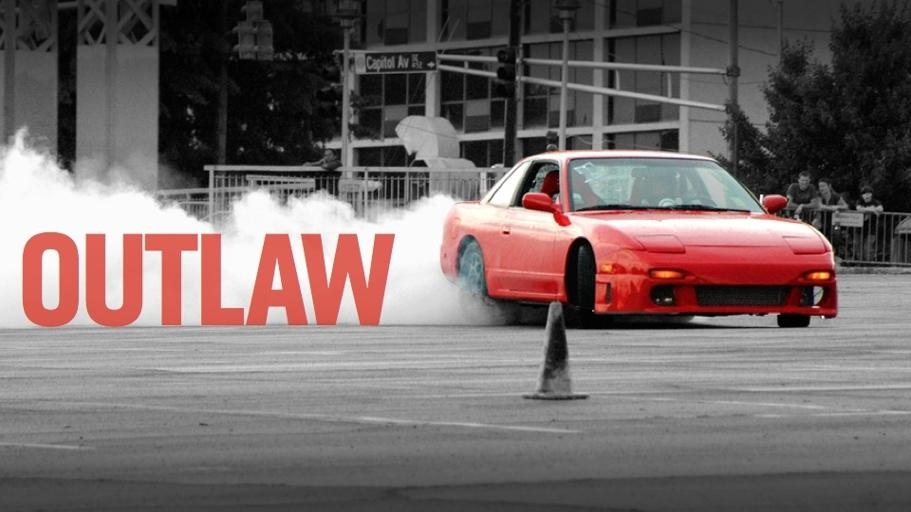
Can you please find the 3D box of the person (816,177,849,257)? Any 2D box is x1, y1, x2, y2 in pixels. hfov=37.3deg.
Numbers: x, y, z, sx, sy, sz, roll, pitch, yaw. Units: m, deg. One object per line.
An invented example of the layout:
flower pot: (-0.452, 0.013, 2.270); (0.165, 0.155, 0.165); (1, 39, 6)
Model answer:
person: (8.378, -0.892, 30.042); (0.699, 1.794, 0.585); (1, 2, 6)

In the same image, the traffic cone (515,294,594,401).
traffic cone: (0.970, 0.915, 13.357); (0.600, 0.980, 0.600); (0, 1, -10)

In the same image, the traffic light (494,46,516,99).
traffic light: (1.332, -4.867, 35.309); (0.516, 1.373, 1.309); (3, 3, 2)

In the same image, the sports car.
sports car: (2.301, -0.263, 17.476); (4.798, 2.226, 2.147); (5, 4, 36)
